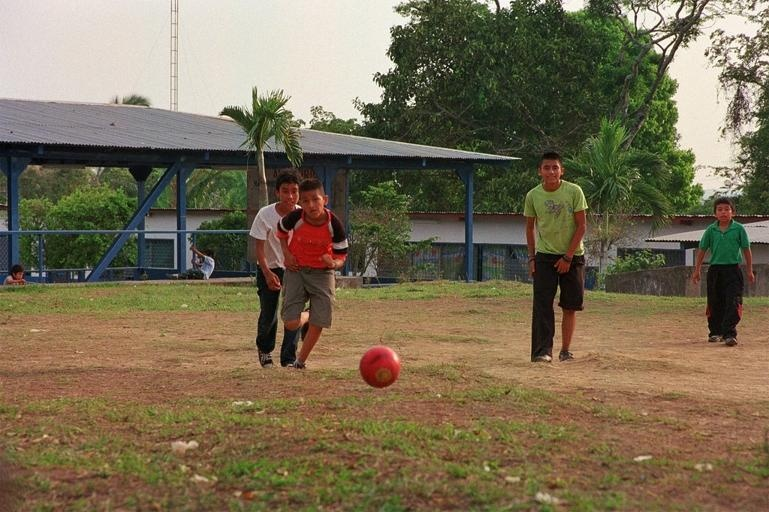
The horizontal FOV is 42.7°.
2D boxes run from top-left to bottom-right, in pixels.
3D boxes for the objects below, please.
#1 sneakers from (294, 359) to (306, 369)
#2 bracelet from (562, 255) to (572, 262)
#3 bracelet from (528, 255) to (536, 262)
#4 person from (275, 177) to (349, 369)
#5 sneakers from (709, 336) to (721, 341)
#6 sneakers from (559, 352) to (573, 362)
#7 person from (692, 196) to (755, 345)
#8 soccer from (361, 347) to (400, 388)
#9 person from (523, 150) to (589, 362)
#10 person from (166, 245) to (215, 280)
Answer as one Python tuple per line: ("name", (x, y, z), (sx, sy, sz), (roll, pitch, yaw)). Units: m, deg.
("sneakers", (-1.061, 1.358, 12.252), (0.143, 0.149, 0.089), (0, 3, -1))
("bracelet", (2.405, 0.029, 12.849), (0.093, 0.050, 0.084), (12, 4, -9))
("bracelet", (1.972, 0.026, 13.128), (0.059, 0.097, 0.090), (-5, -9, 1))
("person", (-0.902, 0.237, 12.008), (0.745, 2.161, 0.613), (1, -1, 41))
("sneakers", (4.855, 1.218, 14.398), (0.178, 0.077, 0.185), (1, -1, 18))
("sneakers", (2.413, 1.336, 13.029), (0.233, 0.170, 0.085), (-3, 0, 29))
("person", (4.973, 0.187, 14.491), (0.738, 1.709, 0.697), (1, -1, 27))
("soccer", (-0.031, 1.247, 11.229), (0.438, 0.450, 0.535), (-11, -1, 6))
("person", (2.259, -0.012, 13.057), (0.792, 2.370, 0.711), (2, 0, -9))
("person", (-4.969, 0.197, 25.657), (1.340, 0.835, 0.796), (-3, -5, 6))
